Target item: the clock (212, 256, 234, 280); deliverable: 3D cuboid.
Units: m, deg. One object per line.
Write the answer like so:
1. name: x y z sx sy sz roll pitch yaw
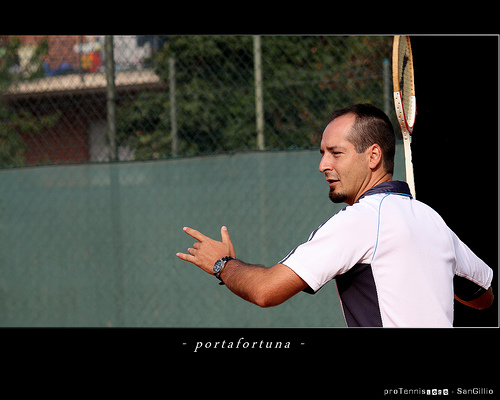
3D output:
1. clock: -0.179 0.413 5.368 0.128 0.126 0.123 -38 59 -14
